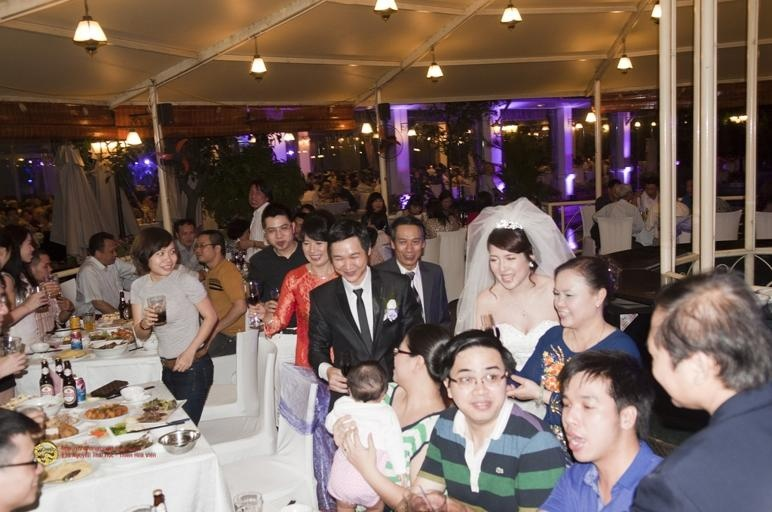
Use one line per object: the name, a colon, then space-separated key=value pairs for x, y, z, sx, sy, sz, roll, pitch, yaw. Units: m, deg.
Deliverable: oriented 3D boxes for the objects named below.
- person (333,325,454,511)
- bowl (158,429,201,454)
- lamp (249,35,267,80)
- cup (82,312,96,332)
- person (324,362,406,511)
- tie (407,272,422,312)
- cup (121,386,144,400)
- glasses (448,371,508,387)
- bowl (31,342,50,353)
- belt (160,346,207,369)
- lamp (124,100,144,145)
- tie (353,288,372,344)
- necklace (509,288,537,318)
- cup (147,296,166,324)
person: x=0.098 y=0.801 z=3.239 sx=0.591 sy=1.198 sz=0.437 roll=11 pitch=-1 yaw=33
bowl: x=-1.316 y=1.172 z=3.487 sx=0.256 sy=0.079 sz=0.189 roll=-4 pitch=8 yaw=8
lamp: x=-1.807 y=-2.742 z=7.782 sx=0.193 sy=0.614 sz=0.960 roll=-7 pitch=8 yaw=-12
cup: x=-3.128 y=0.698 z=5.813 sx=0.145 sy=0.182 sz=0.182 roll=2 pitch=7 yaw=8
person: x=-0.122 y=1.107 z=3.229 sx=0.356 sy=0.938 sz=0.435 roll=-10 pitch=9 yaw=-29
tie: x=0.243 y=0.310 z=4.525 sx=0.064 sy=0.399 sz=0.047 roll=-3 pitch=-32 yaw=-1
cup: x=-1.855 y=1.000 z=4.060 sx=0.112 sy=0.051 sz=0.114 roll=1 pitch=-1 yaw=0
glasses: x=0.451 y=0.601 z=2.720 sx=0.289 sy=0.058 sz=0.079 roll=-5 pitch=8 yaw=3
bowl: x=-3.191 y=0.847 z=5.118 sx=0.110 sy=0.050 sz=0.111 roll=0 pitch=-8 yaw=0
belt: x=-1.635 y=0.833 z=4.489 sx=0.369 sy=0.140 sz=0.222 roll=-7 pitch=8 yaw=-14
lamp: x=-3.809 y=-1.907 z=8.307 sx=0.225 sy=0.481 sz=0.458 roll=-8 pitch=9 yaw=-22
tie: x=-0.166 y=0.436 z=3.921 sx=0.101 sy=0.416 sz=0.039 roll=-11 pitch=-6 yaw=-5
necklace: x=0.976 y=0.335 z=3.937 sx=0.214 sy=0.218 sz=0.079 roll=3 pitch=2 yaw=22
cup: x=-1.686 y=0.403 z=4.072 sx=0.143 sy=0.222 sz=0.143 roll=-11 pitch=-11 yaw=-2
